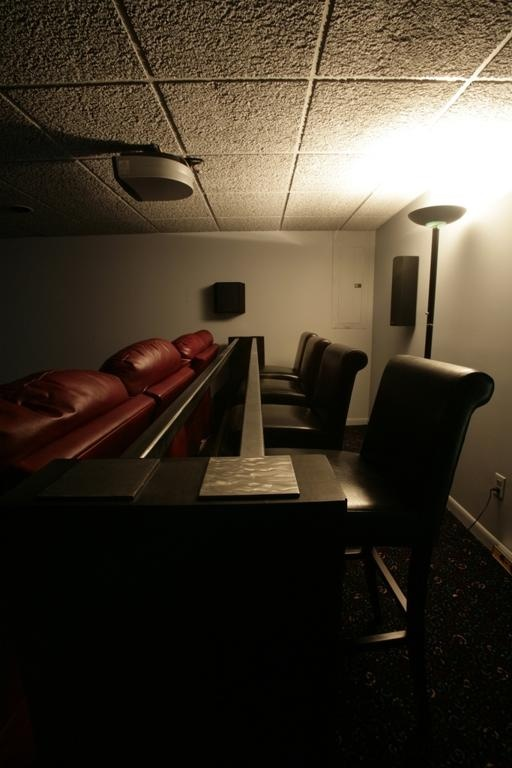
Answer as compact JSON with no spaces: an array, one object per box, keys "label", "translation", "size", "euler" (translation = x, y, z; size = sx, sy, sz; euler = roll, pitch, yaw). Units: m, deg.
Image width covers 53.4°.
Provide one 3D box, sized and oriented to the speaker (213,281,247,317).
[{"label":"speaker","translation":[-0.235,-0.735,4.355],"size":[0.240,0.273,0.257],"euler":[0,9,2]}]
